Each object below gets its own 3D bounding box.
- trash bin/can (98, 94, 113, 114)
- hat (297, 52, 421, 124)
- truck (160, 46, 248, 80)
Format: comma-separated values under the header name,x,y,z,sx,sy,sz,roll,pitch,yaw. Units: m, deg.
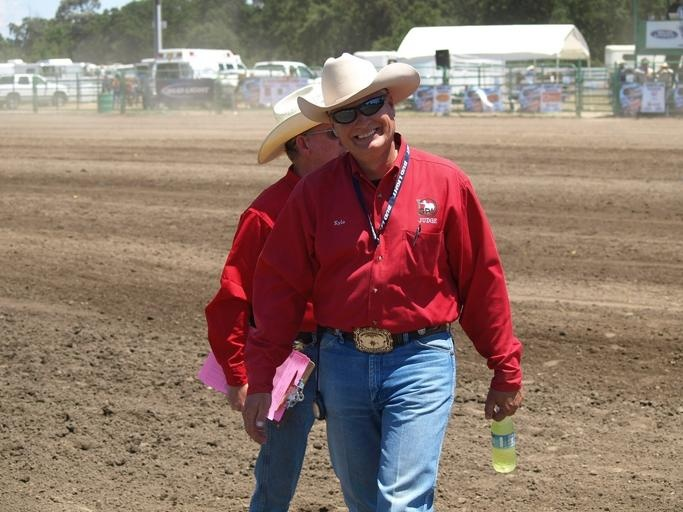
name,x,y,z,sx,sy,sz,roll,pitch,yaw
trash bin/can,-7.775,-5.043,35.425,0.516,0.635,0.480,-6,7,-23
hat,0.088,-1.483,9.073,1.101,0.418,1.022,-15,8,-18
truck,-5.228,-7.531,42.467,1.758,1.583,4.996,1,12,27
